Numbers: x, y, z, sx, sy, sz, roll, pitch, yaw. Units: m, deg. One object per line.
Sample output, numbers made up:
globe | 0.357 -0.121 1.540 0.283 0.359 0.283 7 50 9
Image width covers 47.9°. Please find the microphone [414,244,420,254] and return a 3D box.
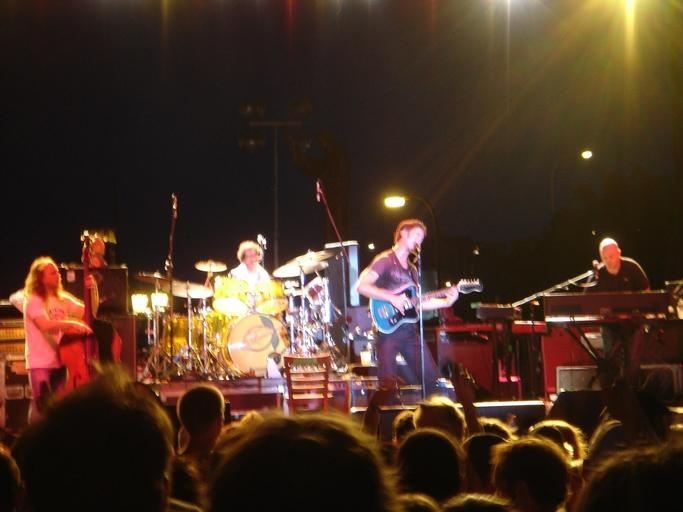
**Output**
microphone | 0.937 -0.080 9.508 0.043 0.128 0.117 -1 -4 11

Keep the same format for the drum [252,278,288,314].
drum | -1.105 0.644 12.048 0.426 0.455 0.470 -7 -15 10

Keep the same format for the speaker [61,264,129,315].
speaker | -3.176 0.425 9.972 0.902 0.657 0.700 0 -1 -18

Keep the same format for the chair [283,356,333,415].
chair | -0.472 1.741 10.930 0.638 1.307 0.798 -3 30 -2

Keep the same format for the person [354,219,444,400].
person | 0.707 0.648 9.506 0.932 2.147 0.483 -3 -11 8

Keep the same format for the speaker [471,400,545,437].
speaker | 1.834 1.750 8.277 0.610 0.385 0.449 0 -9 4

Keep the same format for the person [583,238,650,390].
person | 3.714 0.856 10.350 0.824 0.962 2.257 -25 28 36

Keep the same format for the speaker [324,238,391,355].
speaker | 0.119 0.731 14.805 0.671 2.424 0.538 7 32 16

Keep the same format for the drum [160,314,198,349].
drum | -2.592 1.231 12.351 0.503 0.581 0.511 2 -5 -29

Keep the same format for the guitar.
guitar | 1.084 0.571 9.793 1.482 0.684 0.166 -14 5 -18
